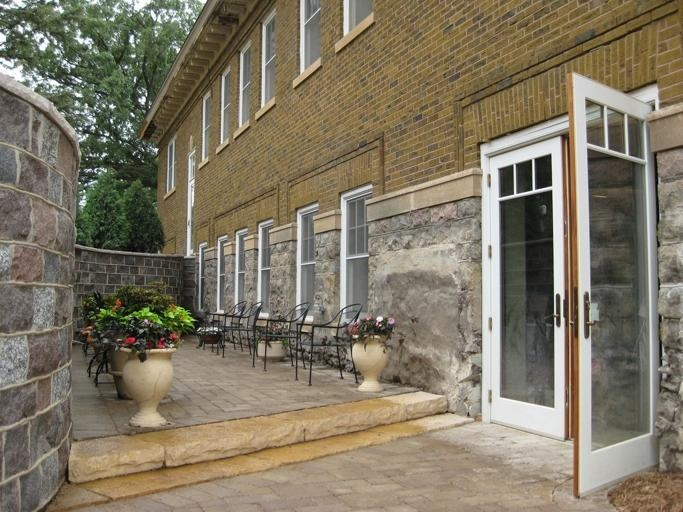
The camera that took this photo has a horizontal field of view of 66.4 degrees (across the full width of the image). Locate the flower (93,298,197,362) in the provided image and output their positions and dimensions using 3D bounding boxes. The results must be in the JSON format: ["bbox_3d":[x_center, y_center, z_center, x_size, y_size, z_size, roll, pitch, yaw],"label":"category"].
[{"bbox_3d":[-1.911,0.664,4.854,0.576,0.341,0.629,3,-4,14],"label":"flower"}]

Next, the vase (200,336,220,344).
[{"bbox_3d":[-2.706,1.710,10.719,0.250,0.105,0.261,-5,-7,31],"label":"vase"}]

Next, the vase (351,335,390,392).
[{"bbox_3d":[0.349,1.284,6.345,0.469,0.719,0.498,18,-34,-34],"label":"vase"}]

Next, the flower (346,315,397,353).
[{"bbox_3d":[0.338,0.923,6.182,0.393,0.312,0.420,-4,-5,21],"label":"flower"}]

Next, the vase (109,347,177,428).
[{"bbox_3d":[-1.712,1.203,4.848,0.548,0.800,0.608,1,-8,-11],"label":"vase"}]

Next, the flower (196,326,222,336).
[{"bbox_3d":[-2.652,1.497,10.426,0.401,0.139,0.411,0,-5,5],"label":"flower"}]
